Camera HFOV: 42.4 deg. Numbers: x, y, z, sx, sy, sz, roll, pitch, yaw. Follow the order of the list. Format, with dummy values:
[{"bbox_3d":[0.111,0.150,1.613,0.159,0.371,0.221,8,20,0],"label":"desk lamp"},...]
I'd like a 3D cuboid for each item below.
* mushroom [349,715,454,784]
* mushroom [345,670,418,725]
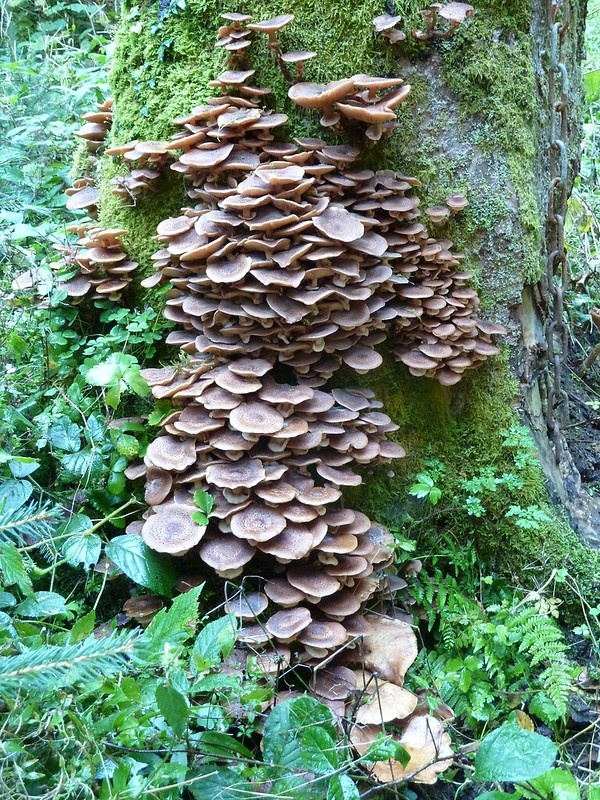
[{"bbox_3d":[0.561,1.809,4.036,0.538,0.151,0.539,-9,-5,-40],"label":"mushroom"},{"bbox_3d":[0.468,1.672,4.303,0.363,0.105,0.397,10,16,25],"label":"mushroom"}]
